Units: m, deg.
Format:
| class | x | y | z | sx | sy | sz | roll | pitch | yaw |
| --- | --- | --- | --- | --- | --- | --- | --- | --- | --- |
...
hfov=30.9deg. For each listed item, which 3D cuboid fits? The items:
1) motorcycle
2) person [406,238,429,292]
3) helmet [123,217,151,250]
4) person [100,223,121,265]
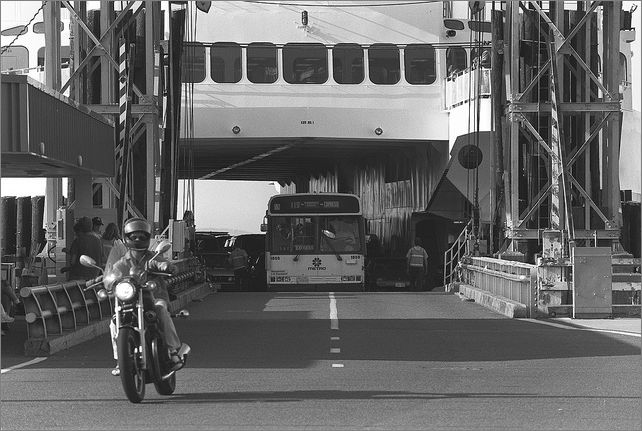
| class | x | y | z | sx | sy | sz | roll | pitch | yaw |
| --- | --- | --- | --- | --- | --- | --- | --- | --- | --- |
| motorcycle | -3.311 | 1.923 | 21.270 | 1.605 | 2.956 | 0.921 | -1 | 4 | -12 |
| person | 3.308 | 1.648 | 39.775 | 0.650 | 1.887 | 1.067 | 0 | 4 | 4 |
| helmet | -3.374 | 0.321 | 21.449 | 0.409 | 0.535 | 0.573 | 0 | -12 | -8 |
| person | -4.828 | 0.397 | 26.879 | 0.408 | 0.241 | 0.889 | 6 | 32 | -12 |
